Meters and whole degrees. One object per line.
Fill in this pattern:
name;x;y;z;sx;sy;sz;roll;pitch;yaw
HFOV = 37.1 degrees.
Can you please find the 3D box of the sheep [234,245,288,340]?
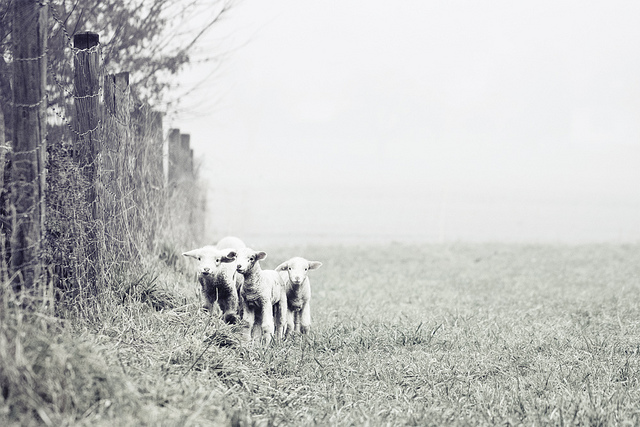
sheep;-0.814;1.148;13.603;0.750;1.330;0.481;-2;4;-18
